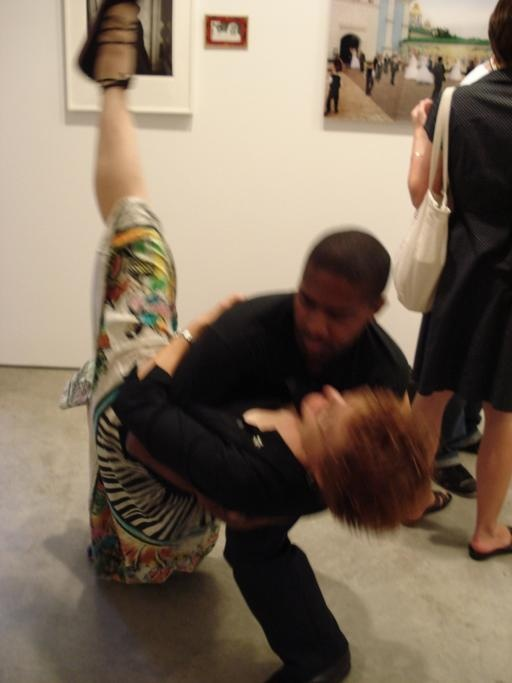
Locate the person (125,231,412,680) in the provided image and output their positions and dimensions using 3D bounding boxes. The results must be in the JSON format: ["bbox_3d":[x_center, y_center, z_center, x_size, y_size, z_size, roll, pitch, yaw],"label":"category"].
[{"bbox_3d":[0.037,0.255,0.710,0.244,0.886,0.343,9,23,14],"label":"person"}]

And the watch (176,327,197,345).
[{"bbox_3d":[-0.077,-0.006,0.553,0.017,0.018,0.005,5,-18,35],"label":"watch"}]

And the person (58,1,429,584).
[{"bbox_3d":[-0.051,0.192,0.971,0.335,1.330,0.545,-2,15,-9],"label":"person"}]
